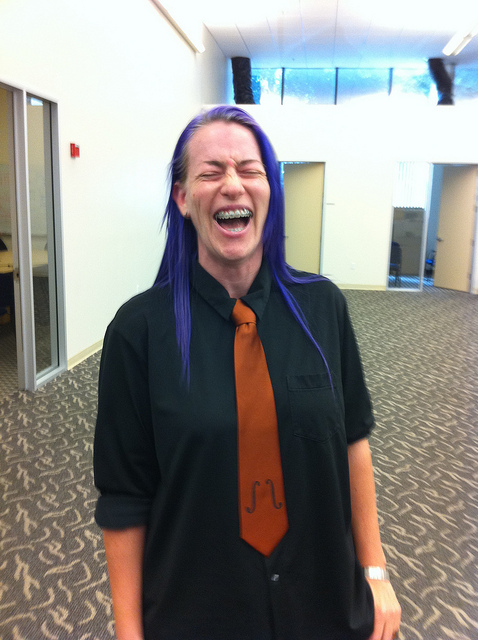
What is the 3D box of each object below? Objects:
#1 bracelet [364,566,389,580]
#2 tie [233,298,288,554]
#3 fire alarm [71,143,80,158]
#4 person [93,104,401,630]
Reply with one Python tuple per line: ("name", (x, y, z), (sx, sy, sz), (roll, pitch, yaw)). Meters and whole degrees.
("bracelet", (0.243, 0.445, 0.790), (0.025, 0.034, 0.029), (2, -21, -2))
("tie", (0.029, 0.171, 0.656), (0.073, 0.468, 0.031), (-4, 22, 1))
("fire alarm", (-1.879, -1.942, 5.117), (0.052, 0.183, 0.163), (3, 7, 3))
("person", (0.013, 0.073, 0.773), (0.512, 0.873, 0.368), (-2, 9, -17))
